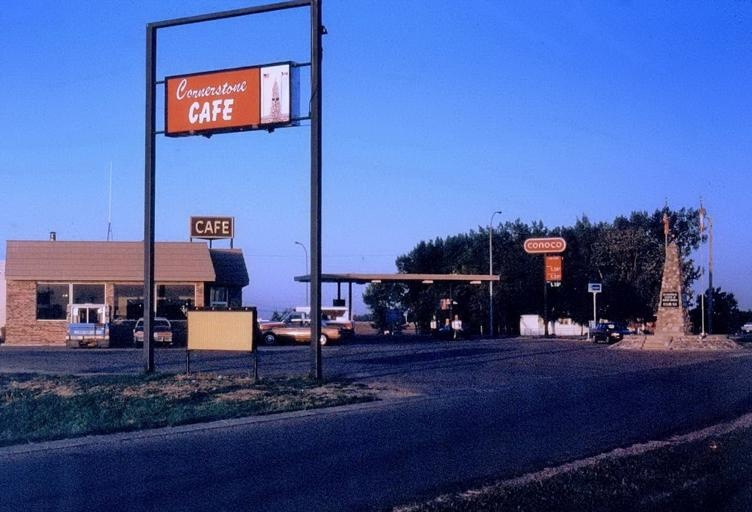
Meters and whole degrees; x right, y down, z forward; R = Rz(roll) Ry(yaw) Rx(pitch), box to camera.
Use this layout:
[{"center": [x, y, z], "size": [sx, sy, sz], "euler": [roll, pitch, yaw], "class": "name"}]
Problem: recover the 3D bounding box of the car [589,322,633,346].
[{"center": [14.474, 4.868, 57.104], "size": [1.324, 1.130, 2.527], "euler": [0, -8, -16], "class": "car"}]
